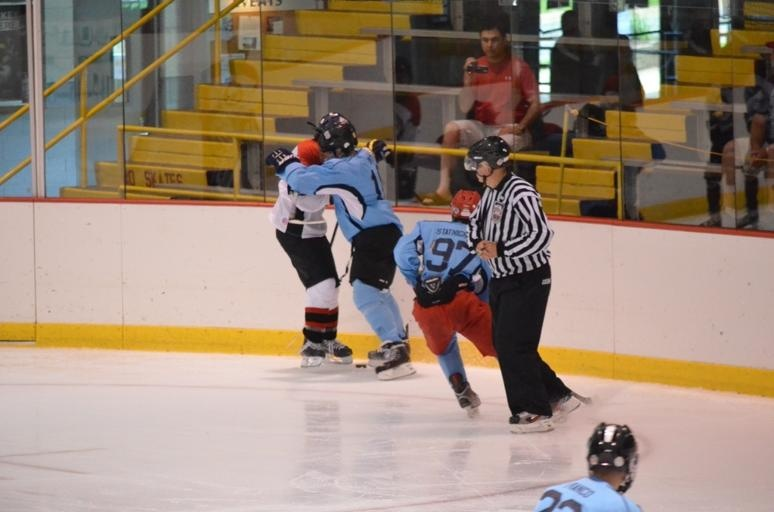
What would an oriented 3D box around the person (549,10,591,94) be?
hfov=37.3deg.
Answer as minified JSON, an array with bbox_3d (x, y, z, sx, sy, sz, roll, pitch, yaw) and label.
[{"bbox_3d":[1.453,-1.643,9.121,0.314,0.675,0.079,5,5,41],"label":"person"}]

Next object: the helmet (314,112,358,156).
[{"bbox_3d":[-0.415,-0.983,9.207,0.331,0.344,0.189,1,4,-2],"label":"helmet"}]

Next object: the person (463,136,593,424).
[{"bbox_3d":[0.843,0.195,7.905,0.654,2.032,0.280,2,4,7],"label":"person"}]

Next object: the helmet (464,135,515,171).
[{"bbox_3d":[0.700,-0.739,7.946,0.293,0.206,0.215,19,25,14],"label":"helmet"}]

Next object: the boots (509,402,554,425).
[{"bbox_3d":[0.987,1.122,7.896,0.242,0.094,0.132,2,3,-5],"label":"boots"}]

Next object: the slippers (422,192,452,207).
[{"bbox_3d":[0.419,-0.477,9.612,0.258,0.089,0.094,3,4,4],"label":"slippers"}]

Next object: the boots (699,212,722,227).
[{"bbox_3d":[2.425,-0.278,8.590,0.155,0.103,0.050,2,4,15],"label":"boots"}]

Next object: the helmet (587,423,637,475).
[{"bbox_3d":[1.185,1.003,6.022,0.224,0.261,0.270,3,-32,13],"label":"helmet"}]

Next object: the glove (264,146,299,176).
[{"bbox_3d":[-0.864,-0.740,9.185,0.227,0.098,0.283,-26,39,-28],"label":"glove"}]

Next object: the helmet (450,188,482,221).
[{"bbox_3d":[0.569,-0.401,8.529,0.194,0.208,0.238,7,14,8],"label":"helmet"}]
